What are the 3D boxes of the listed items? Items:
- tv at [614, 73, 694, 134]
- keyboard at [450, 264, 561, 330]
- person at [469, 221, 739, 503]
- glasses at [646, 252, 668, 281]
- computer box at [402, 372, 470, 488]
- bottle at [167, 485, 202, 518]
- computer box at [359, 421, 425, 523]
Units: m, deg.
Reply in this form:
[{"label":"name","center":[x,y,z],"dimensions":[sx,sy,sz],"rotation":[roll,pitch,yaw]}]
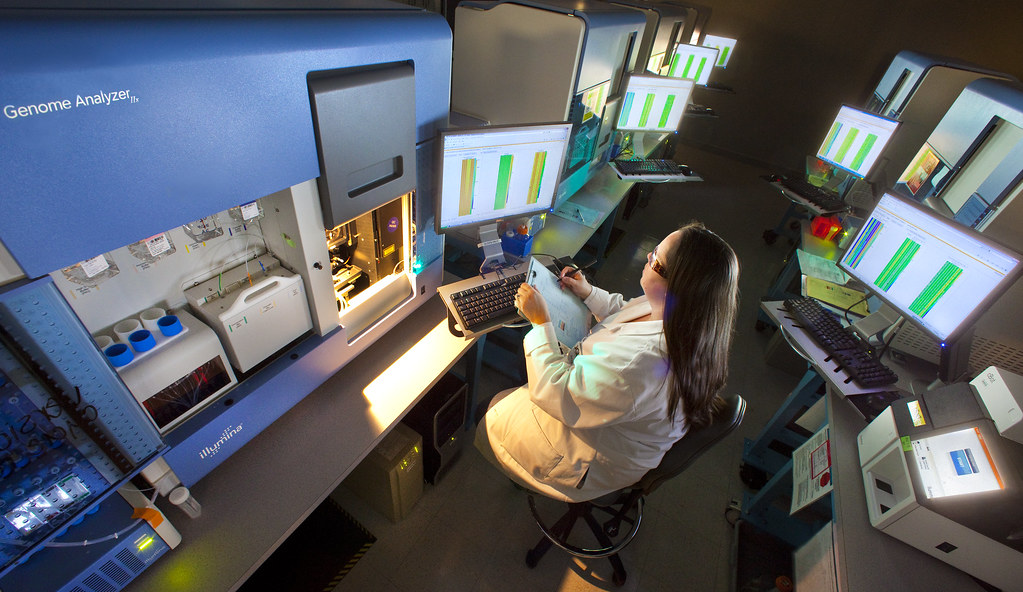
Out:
[{"label":"tv","center":[1.086,-1.465,4.331],"dimensions":[0.701,0.498,0.101],"rotation":[-20,41,-30]},{"label":"keyboard","center":[-0.124,0.041,2.908],"dimensions":[0.615,0.183,0.318],"rotation":[-17,72,-27]},{"label":"person","center":[0.423,0.365,2.800],"dimensions":[0.945,1.550,0.867],"rotation":[43,44,14]},{"label":"glasses","center":[0.655,-0.132,2.559],"dimensions":[0.034,0.109,0.110],"rotation":[-17,18,-7]},{"label":"computer box","center":[-0.545,0.788,3.389],"dimensions":[0.462,0.609,0.336],"rotation":[15,31,21]},{"label":"bottle","center":[-1.352,0.845,2.337],"dimensions":[0.099,0.149,0.084],"rotation":[-16,39,-25]},{"label":"computer box","center":[-0.677,0.986,3.137],"dimensions":[0.307,0.398,0.219],"rotation":[18,30,29]}]
